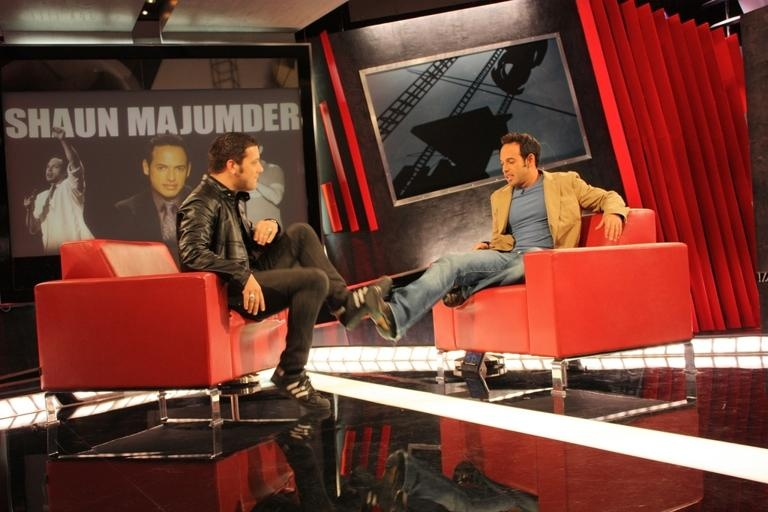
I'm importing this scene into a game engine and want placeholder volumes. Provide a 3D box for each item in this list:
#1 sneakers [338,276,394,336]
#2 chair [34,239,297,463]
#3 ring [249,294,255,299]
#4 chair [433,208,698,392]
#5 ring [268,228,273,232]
[{"bbox_3d":[-0.036,0.254,3.886,0.471,0.154,0.201,-35,-7,9],"label":"sneakers"},{"bbox_3d":[-1.231,0.483,4.042,1.104,1.126,1.357,-3,-1,7],"label":"chair"},{"bbox_3d":[-0.715,0.215,3.554,0.027,0.025,0.024,3,9,12],"label":"ring"},{"bbox_3d":[1.063,0.314,4.133,1.265,0.993,1.229,2,-9,-32],"label":"chair"},{"bbox_3d":[-0.694,-0.161,3.972,0.018,0.017,0.019,0,12,0],"label":"ring"}]
